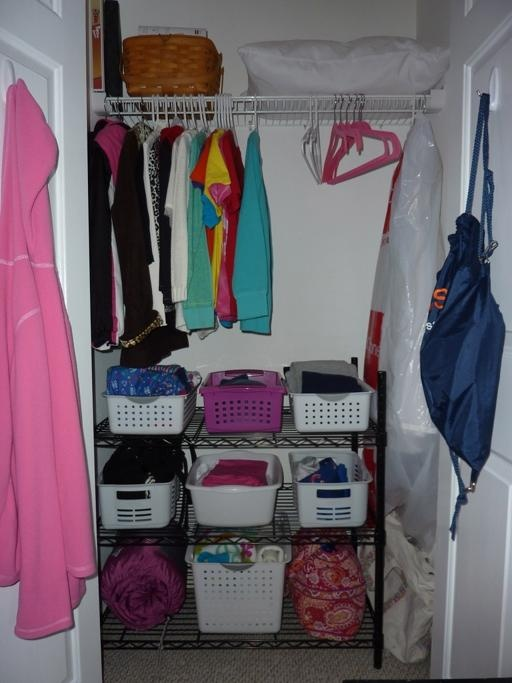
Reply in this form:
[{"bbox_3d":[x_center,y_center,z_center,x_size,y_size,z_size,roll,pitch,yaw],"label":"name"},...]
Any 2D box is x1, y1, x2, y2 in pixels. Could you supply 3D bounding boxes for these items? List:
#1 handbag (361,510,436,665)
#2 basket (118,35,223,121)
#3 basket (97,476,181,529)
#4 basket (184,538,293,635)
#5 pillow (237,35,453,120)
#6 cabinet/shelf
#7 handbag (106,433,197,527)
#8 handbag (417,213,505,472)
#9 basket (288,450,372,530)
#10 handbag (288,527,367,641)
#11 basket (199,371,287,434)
[{"bbox_3d":[0.445,0.757,1.958,0.161,0.124,0.461,-26,33,26],"label":"handbag"},{"bbox_3d":[-0.280,-0.787,1.891,0.258,0.183,0.228,-2,4,-5],"label":"basket"},{"bbox_3d":[-0.360,0.471,1.814,0.171,0.106,0.133,0,-10,-2],"label":"basket"},{"bbox_3d":[-0.058,0.805,1.923,0.288,0.247,0.276,-1,-22,-3],"label":"basket"},{"bbox_3d":[0.290,-0.833,1.904,0.416,0.161,0.357,-1,34,2],"label":"pillow"},{"bbox_3d":[-0.053,0.546,1.858,0.699,0.885,0.287,0,0,-1],"label":"cabinet/shelf"},{"bbox_3d":[-0.351,0.408,1.847,0.178,0.160,0.326,1,0,-3],"label":"handbag"},{"bbox_3d":[0.481,0.008,1.413,0.098,0.594,0.224,-4,9,-19],"label":"handbag"},{"bbox_3d":[0.220,0.454,1.930,0.155,0.133,0.266,-1,-2,0],"label":"basket"},{"bbox_3d":[0.215,0.788,1.942,0.148,0.353,0.232,6,-12,5],"label":"handbag"},{"bbox_3d":[-0.044,0.182,1.973,0.258,0.152,0.321,-1,10,0],"label":"basket"}]
